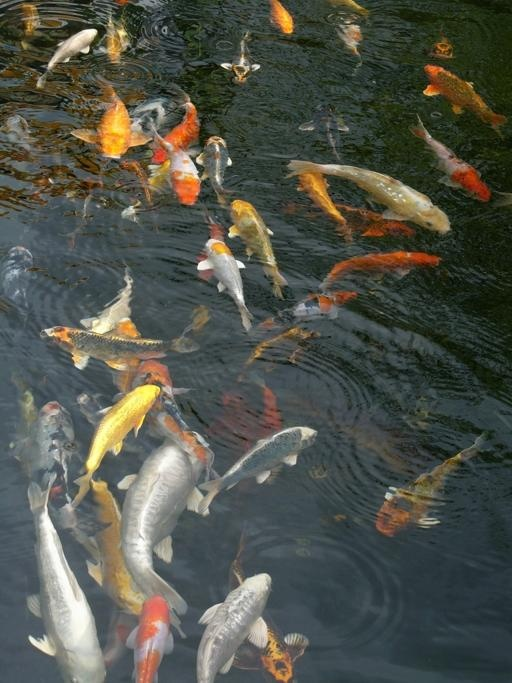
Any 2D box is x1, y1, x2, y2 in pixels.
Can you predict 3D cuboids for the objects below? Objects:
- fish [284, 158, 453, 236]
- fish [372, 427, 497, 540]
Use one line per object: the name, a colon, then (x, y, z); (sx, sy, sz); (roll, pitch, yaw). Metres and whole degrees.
fish: (0.905, -1.011, 6.121); (1.261, 0.435, 0.436); (27, 11, 12)
fish: (1.005, 0.814, 4.750); (0.304, 0.236, 0.835); (34, 46, 31)
